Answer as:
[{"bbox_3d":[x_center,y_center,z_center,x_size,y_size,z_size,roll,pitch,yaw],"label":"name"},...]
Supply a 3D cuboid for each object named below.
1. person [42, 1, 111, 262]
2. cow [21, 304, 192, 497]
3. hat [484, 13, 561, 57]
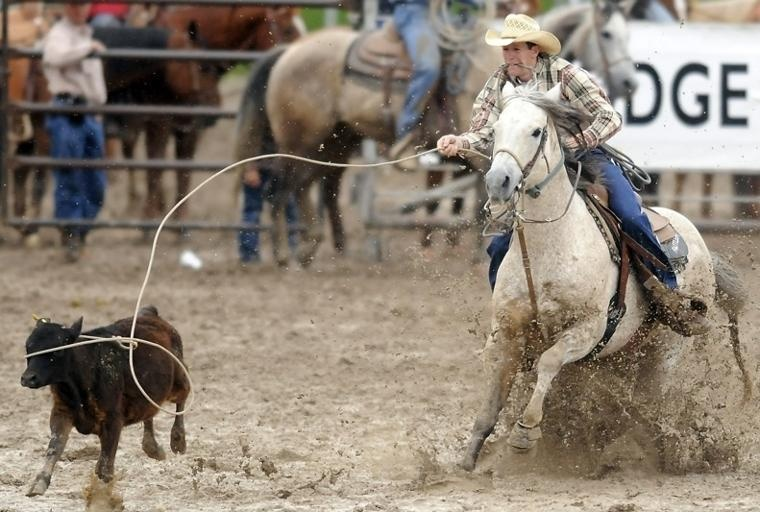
[{"bbox_3d":[-3.063,-1.216,14.629,0.626,2.583,0.948,0,4,-13],"label":"person"},{"bbox_3d":[-2.022,1.102,10.947,0.473,1.312,1.307,4,5,40],"label":"cow"},{"bbox_3d":[1.081,-1.679,11.028,0.542,0.313,0.286,2,4,2],"label":"hat"}]
